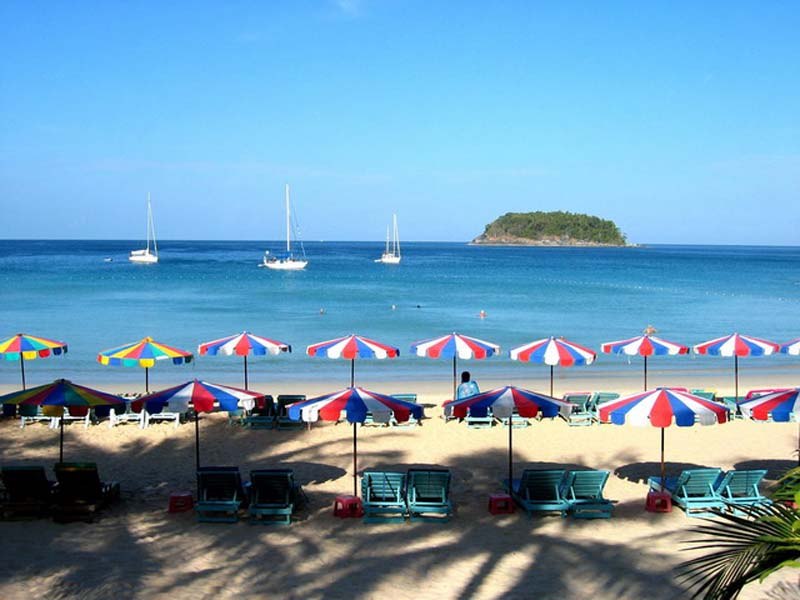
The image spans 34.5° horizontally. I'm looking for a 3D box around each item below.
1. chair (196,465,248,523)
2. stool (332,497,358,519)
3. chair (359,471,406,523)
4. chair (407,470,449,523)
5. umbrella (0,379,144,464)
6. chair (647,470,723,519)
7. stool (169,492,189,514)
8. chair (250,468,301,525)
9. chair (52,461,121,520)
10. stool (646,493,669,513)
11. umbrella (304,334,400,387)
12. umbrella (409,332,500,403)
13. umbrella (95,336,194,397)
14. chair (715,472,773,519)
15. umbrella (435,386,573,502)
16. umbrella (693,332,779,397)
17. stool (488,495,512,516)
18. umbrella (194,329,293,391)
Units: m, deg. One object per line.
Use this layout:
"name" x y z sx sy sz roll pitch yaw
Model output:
"chair" -3.795 4.218 28.127 1.101 1.013 1.829 0 -6 6
"stool" -1.168 4.491 27.911 0.488 0.333 0.466 -4 6 -29
"chair" -0.341 4.271 27.769 0.871 0.629 1.061 0 -1 2
"chair" 0.598 4.216 27.750 0.865 1.046 0.706 1 -9 4
"umbrella" -7.634 2.791 28.295 2.216 2.177 2.529 -5 8 -42
"chair" 6.390 4.101 28.036 0.830 0.738 2.181 0 3 -5
"stool" -4.756 4.423 28.013 0.428 0.319 0.400 1 2 -9
"chair" -2.707 4.198 27.564 0.846 0.690 1.226 2 2 -1
"chair" -6.797 4.096 27.797 1.396 1.180 0.809 -2 6 -21
"stool" 5.641 4.432 28.158 0.462 0.311 0.434 -1 -2 1
"umbrella" -1.347 1.284 33.220 2.182 1.293 2.138 -1 0 -34
"umbrella" 1.417 1.304 33.988 2.254 1.707 2.041 0 -3 -6
"umbrella" -6.541 1.401 33.037 2.440 1.549 2.281 0 1 -7
"chair" 7.456 4.093 27.851 1.201 0.922 1.669 -1 3 -2
"umbrella" 2.344 2.476 28.370 2.748 2.030 2.649 -1 1 22
"umbrella" 9.083 1.626 34.905 2.433 1.847 2.278 -1 -2 -1
"stool" 2.198 4.469 27.961 0.437 0.285 0.410 0 -2 -5
"umbrella" -4.118 1.412 34.288 2.357 1.418 2.225 -1 -2 -7
